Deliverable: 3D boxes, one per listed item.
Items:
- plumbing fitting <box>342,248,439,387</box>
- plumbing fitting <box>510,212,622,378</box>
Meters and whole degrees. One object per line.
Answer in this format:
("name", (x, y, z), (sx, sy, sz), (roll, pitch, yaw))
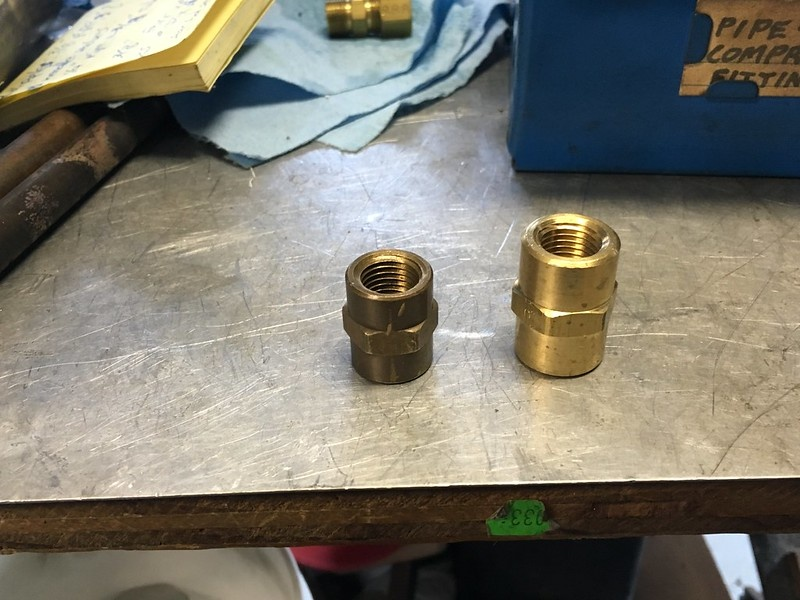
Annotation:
("plumbing fitting", (-0.011, 0.020, 0.863), (0.109, 0.112, 0.110), (23, 41, 32))
("plumbing fitting", (0.191, -0.005, 0.858), (0.141, 0.150, 0.113), (-7, 36, -6))
